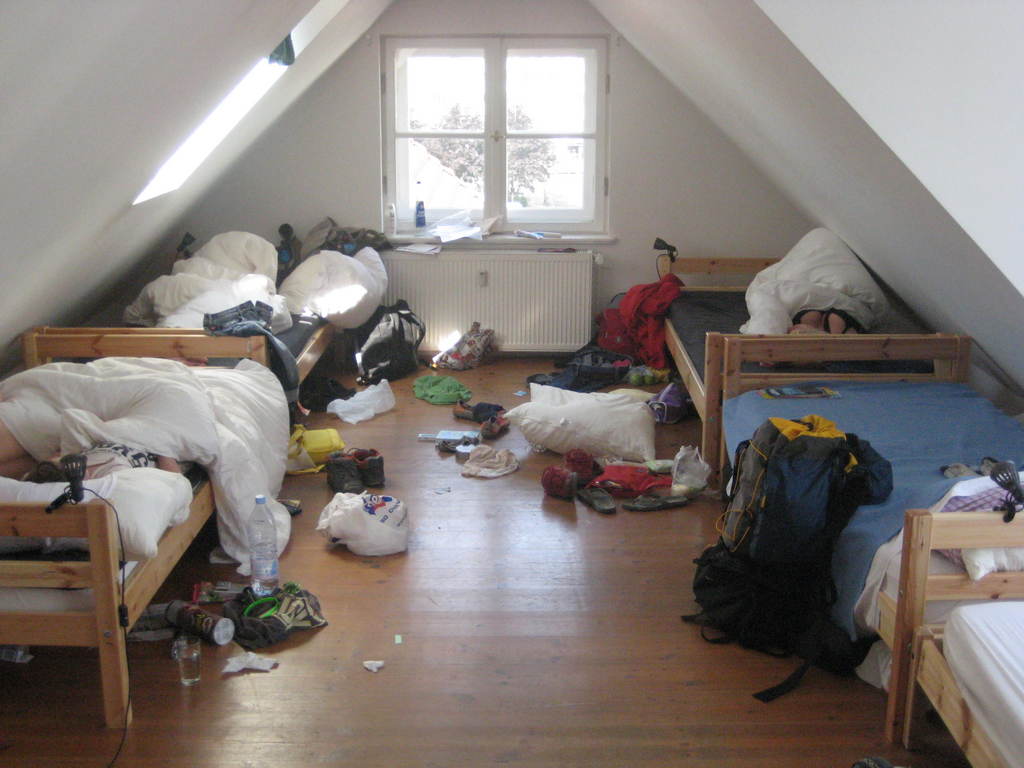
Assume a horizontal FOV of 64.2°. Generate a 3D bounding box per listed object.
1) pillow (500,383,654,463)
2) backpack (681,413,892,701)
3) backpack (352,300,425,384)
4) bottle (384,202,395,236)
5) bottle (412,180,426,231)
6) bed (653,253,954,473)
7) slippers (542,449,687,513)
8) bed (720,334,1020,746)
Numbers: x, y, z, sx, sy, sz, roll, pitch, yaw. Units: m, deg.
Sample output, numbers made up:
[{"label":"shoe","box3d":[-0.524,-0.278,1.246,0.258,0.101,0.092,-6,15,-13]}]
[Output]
[{"label":"pillow","box3d":[0.372,0.207,4.088,0.461,0.164,0.471,4,18,14]},{"label":"backpack","box3d":[0.872,0.541,2.685,0.614,0.883,0.347,9,0,25]},{"label":"backpack","box3d":[-0.809,-0.288,5.369,0.566,0.570,0.422,-2,12,9]},{"label":"bottle","box3d":[-0.847,-1.165,5.747,0.062,0.223,0.088,6,13,39]},{"label":"bottle","box3d":[-0.645,-1.272,5.763,0.094,0.343,0.100,-2,10,0]},{"label":"bed","box3d":[1.282,-0.181,4.410,0.848,0.525,1.532,-1,27,-1]},{"label":"slippers","box3d":[0.462,0.454,3.744,0.439,0.110,0.312,-1,17,-4]},{"label":"bed","box3d":[1.358,0.538,3.713,0.813,1.475,0.641,0,-7,7]}]
